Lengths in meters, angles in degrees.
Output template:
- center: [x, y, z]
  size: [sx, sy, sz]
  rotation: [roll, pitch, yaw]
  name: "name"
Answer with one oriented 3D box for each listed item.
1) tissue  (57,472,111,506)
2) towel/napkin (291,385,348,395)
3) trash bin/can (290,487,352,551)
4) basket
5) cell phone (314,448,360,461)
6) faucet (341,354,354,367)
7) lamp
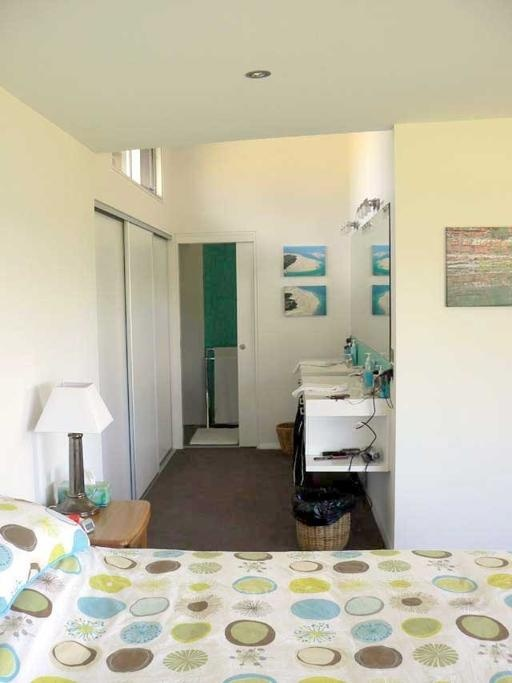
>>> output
- center: [-0.718, 0.627, 2.392]
  size: [0.212, 0.133, 0.143]
  rotation: [2, -9, -6]
  name: "tissue "
- center: [0.349, 0.288, 3.204]
  size: [0.300, 0.062, 0.238]
  rotation: [0, 2, 8]
  name: "towel/napkin"
- center: [0.297, 0.913, 2.944]
  size: [0.296, 0.291, 0.328]
  rotation: [1, -19, -3]
  name: "trash bin/can"
- center: [0.319, 0.909, 2.940]
  size: [0.309, 0.288, 0.330]
  rotation: [0, -19, 0]
  name: "basket"
- center: [0.428, 0.603, 3.044]
  size: [0.243, 0.056, 0.076]
  rotation: [0, 2, 5]
  name: "cell phone"
- center: [0.717, 0.145, 4.500]
  size: [0.088, 0.146, 0.083]
  rotation: [4, -5, -6]
  name: "faucet"
- center: [-0.712, 0.435, 2.241]
  size: [0.278, 0.539, 0.272]
  rotation: [-1, 2, -10]
  name: "lamp"
